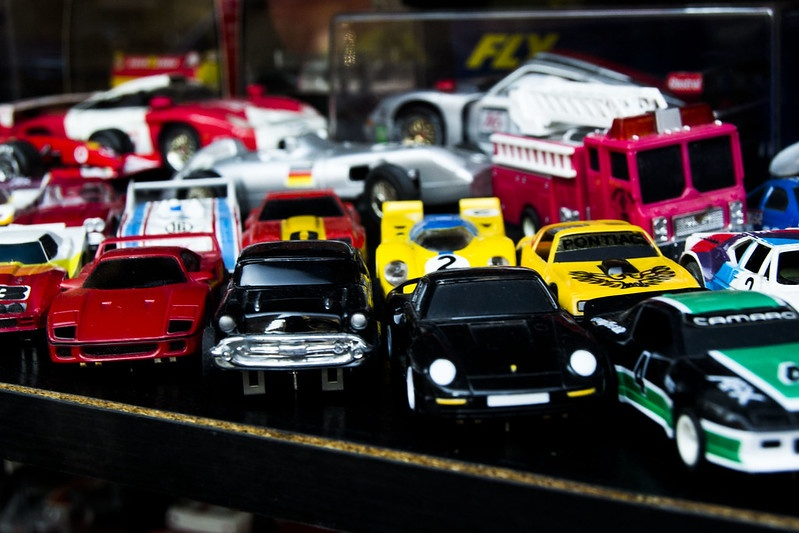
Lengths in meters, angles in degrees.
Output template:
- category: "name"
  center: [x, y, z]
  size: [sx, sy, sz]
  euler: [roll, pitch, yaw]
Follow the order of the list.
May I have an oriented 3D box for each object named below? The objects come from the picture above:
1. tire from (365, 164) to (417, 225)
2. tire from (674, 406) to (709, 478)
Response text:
- category: "tire"
  center: [-0.160, -0.930, 10.998]
  size: [0.298, 0.724, 0.743]
  euler: [-6, 3, -38]
- category: "tire"
  center: [2.393, 1.432, 6.411]
  size: [0.143, 0.547, 0.382]
  euler: [-7, 15, -18]
